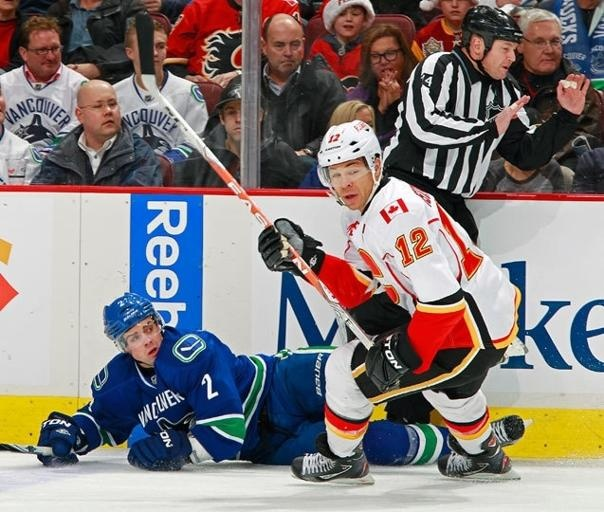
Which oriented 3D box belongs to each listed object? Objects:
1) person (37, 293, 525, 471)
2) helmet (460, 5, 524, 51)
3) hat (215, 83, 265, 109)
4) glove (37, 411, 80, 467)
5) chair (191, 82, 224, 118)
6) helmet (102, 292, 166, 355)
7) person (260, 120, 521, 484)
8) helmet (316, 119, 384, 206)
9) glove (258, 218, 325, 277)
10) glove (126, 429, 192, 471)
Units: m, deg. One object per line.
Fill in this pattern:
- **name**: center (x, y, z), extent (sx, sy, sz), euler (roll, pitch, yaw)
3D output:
- **person**: center (-0.133, 0.571, 4.537), extent (2.380, 0.858, 0.793), euler (-4, -6, 3)
- **helmet**: center (0.869, -1.059, 4.377), extent (0.236, 0.215, 0.188), euler (17, 32, 15)
- **hat**: center (-0.318, -0.805, 4.789), extent (0.135, 0.086, 0.178), euler (9, 35, 41)
- **glove**: center (-1.095, 0.834, 4.357), extent (0.171, 0.209, 0.183), euler (-1, 5, 1)
- **chair**: center (-0.470, -0.824, 5.019), extent (0.139, 0.162, 0.132), euler (37, -27, -1)
- **helmet**: center (-0.817, 0.292, 4.452), extent (0.217, 0.270, 0.269), euler (-37, -2, -19)
- **person**: center (0.392, 0.249, 3.978), extent (1.063, 1.505, 0.710), euler (0, 10, 3)
- **helmet**: center (0.176, -0.379, 3.871), extent (0.271, 0.338, 0.182), euler (3, 6, 35)
- **glove**: center (-0.055, -0.034, 4.196), extent (0.283, 0.246, 0.130), euler (39, -11, 14)
- **glove**: center (-0.629, 0.866, 4.224), extent (0.237, 0.164, 0.099), euler (-2, -29, 2)
